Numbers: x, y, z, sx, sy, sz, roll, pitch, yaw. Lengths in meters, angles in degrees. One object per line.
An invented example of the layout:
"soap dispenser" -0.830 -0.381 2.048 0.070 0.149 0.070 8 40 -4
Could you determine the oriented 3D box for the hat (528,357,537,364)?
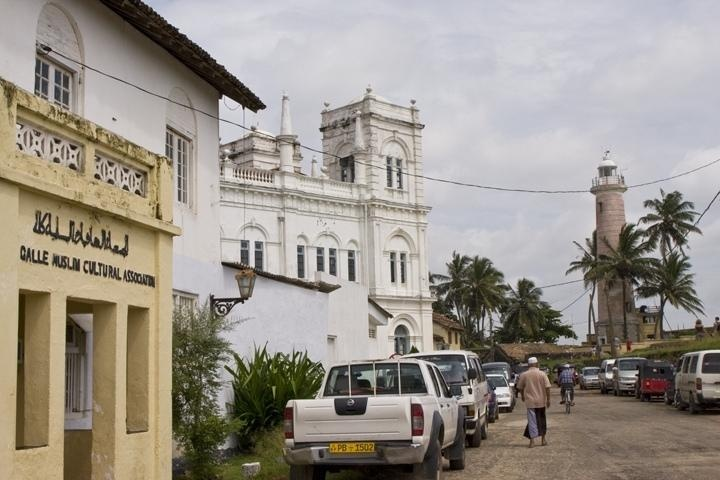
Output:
"hat" 4.147 2.916 22.082 0.214 0.116 0.311 -2 -1 6
